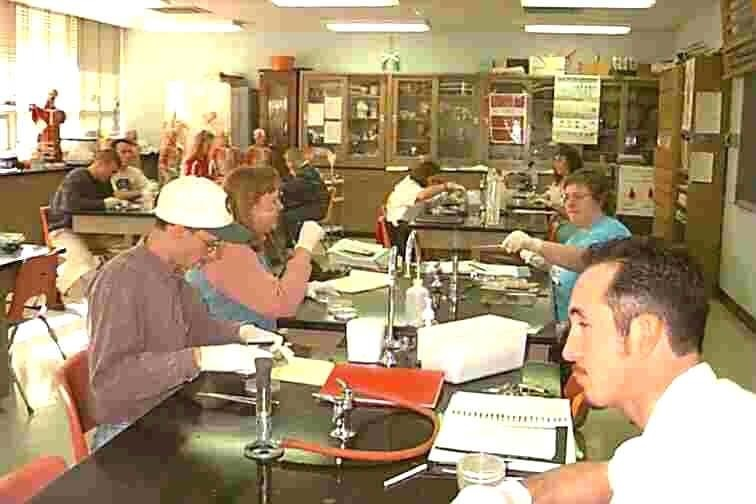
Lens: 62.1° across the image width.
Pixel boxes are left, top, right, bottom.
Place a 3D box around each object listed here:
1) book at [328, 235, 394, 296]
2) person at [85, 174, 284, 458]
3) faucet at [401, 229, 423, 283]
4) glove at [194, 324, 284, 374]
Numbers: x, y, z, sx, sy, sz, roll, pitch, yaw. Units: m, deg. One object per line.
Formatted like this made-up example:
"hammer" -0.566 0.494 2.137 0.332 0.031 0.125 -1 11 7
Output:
"book" -0.125 0.133 4.160 0.398 0.127 0.285 -2 28 -23
"person" -0.704 0.108 3.141 1.028 1.722 0.976 -2 14 -11
"faucet" 0.172 0.057 3.267 0.108 0.310 0.061 4 14 6
"glove" -0.505 0.373 2.399 0.229 0.049 0.216 4 14 14
